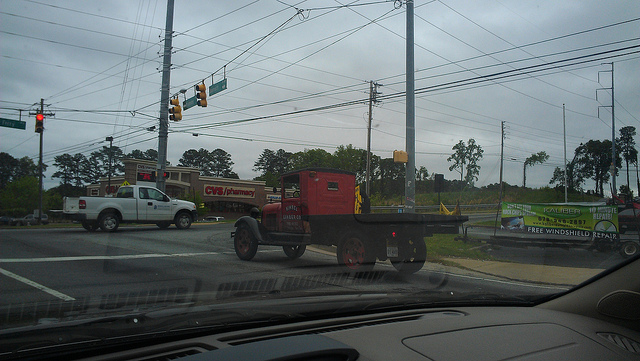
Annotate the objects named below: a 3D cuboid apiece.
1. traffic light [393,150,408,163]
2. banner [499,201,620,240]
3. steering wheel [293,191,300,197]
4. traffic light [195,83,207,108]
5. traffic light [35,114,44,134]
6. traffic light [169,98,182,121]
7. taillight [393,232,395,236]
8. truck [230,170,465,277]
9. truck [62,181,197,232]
[{"bbox_3d":[1.947,-0.552,12.794,0.276,0.309,0.777,11,2,15],"label":"traffic light"},{"bbox_3d":[3.431,0.530,7.614,1.579,0.592,0.173,10,0,36],"label":"banner"},{"bbox_3d":[-0.536,0.288,11.584,0.155,0.112,0.049,10,1,19],"label":"steering wheel"},{"bbox_3d":[-4.099,-2.891,18.134,0.448,0.767,0.666,11,1,-7],"label":"traffic light"},{"bbox_3d":[-3.808,-0.766,7.196,0.094,0.237,0.413,10,1,-31],"label":"traffic light"},{"bbox_3d":[-5.079,-2.445,18.592,0.457,0.716,1.138,10,1,-17],"label":"traffic light"},{"bbox_3d":[1.386,1.002,10.021,0.023,0.071,0.060,11,1,-6],"label":"taillight"},{"bbox_3d":[0.456,0.803,11.381,2.037,1.830,5.509,5,-5,-43],"label":"truck"},{"bbox_3d":[-4.055,0.661,12.047,3.099,0.996,1.513,1,-3,-44],"label":"truck"}]
